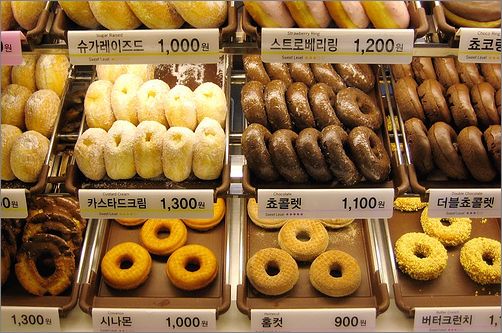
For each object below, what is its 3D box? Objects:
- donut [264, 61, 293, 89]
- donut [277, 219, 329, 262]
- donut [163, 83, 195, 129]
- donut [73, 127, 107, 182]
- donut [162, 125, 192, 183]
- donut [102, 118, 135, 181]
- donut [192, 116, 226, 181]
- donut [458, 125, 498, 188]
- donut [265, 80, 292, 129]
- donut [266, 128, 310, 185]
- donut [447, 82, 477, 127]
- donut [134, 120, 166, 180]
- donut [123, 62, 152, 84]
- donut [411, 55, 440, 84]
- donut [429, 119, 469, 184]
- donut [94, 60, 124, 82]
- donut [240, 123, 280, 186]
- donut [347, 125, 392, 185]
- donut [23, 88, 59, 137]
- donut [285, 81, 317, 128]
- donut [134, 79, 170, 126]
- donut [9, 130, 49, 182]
[{"bbox_3d":[0.135,-0.441,1.957,0.110,0.068,0.230,-17,-18,15],"label":"donut"},{"bbox_3d":[0.272,0.372,2.066,0.232,0.081,0.240,-21,48,-19],"label":"donut"},{"bbox_3d":[-0.316,-0.264,1.777,0.152,0.248,0.170,0,13,3],"label":"donut"},{"bbox_3d":[-0.689,-0.050,1.700,0.144,0.209,0.112,-4,-6,-21],"label":"donut"},{"bbox_3d":[-0.307,-0.049,1.703,0.149,0.231,0.073,-7,12,-9],"label":"donut"},{"bbox_3d":[-0.559,-0.072,1.667,0.159,0.219,0.079,4,-5,-12],"label":"donut"},{"bbox_3d":[-0.183,-0.071,1.687,0.122,0.260,0.109,2,-4,-1],"label":"donut"},{"bbox_3d":[0.944,-0.042,1.671,0.066,0.203,0.201,-20,39,8],"label":"donut"},{"bbox_3d":[0.111,-0.276,1.760,0.049,0.180,0.169,-6,-4,2],"label":"donut"},{"bbox_3d":[0.154,-0.041,1.661,0.063,0.199,0.195,-9,-17,29],"label":"donut"},{"bbox_3d":[0.935,-0.267,1.770,0.051,0.155,0.163,-15,22,12],"label":"donut"},{"bbox_3d":[-0.439,-0.080,1.692,0.151,0.216,0.075,5,3,36],"label":"donut"},{"bbox_3d":[-0.546,-0.463,1.919,0.105,0.102,0.103,-1,16,0],"label":"donut"},{"bbox_3d":[0.833,-0.470,1.906,0.072,0.152,0.047,-9,-21,6],"label":"donut"},{"bbox_3d":[0.841,-0.071,1.708,0.068,0.214,0.216,-20,50,12],"label":"donut"},{"bbox_3d":[-0.687,-0.457,1.925,0.091,0.092,0.097,-7,43,-12],"label":"donut"},{"bbox_3d":[0.032,-0.055,1.664,0.066,0.210,0.208,-17,52,8],"label":"donut"},{"bbox_3d":[0.483,-0.064,1.687,0.070,0.217,0.226,-22,41,41],"label":"donut"},{"bbox_3d":[-1.008,-0.255,1.927,0.158,0.227,0.169,0,5,23],"label":"donut"},{"bbox_3d":[0.211,-0.274,1.784,0.056,0.171,0.169,-12,-17,2],"label":"donut"},{"bbox_3d":[-0.449,-0.288,1.801,0.159,0.241,0.179,3,3,-2],"label":"donut"},{"bbox_3d":[-0.975,-0.052,1.744,0.100,0.215,0.161,-21,-36,35],"label":"donut"}]
